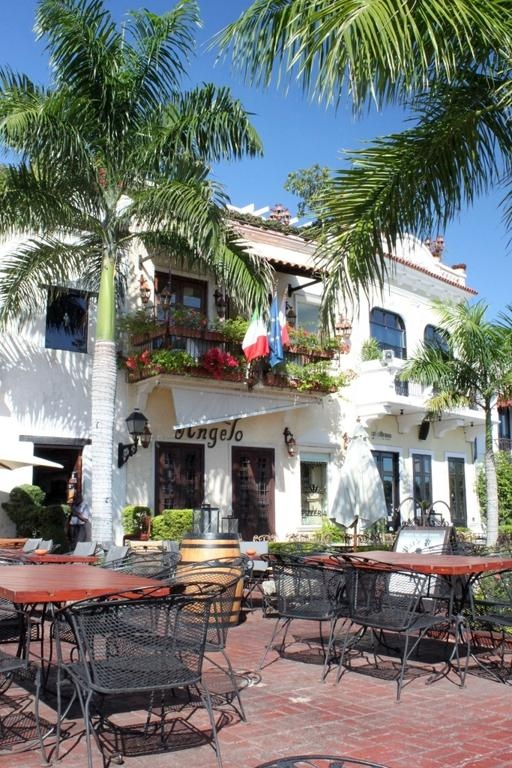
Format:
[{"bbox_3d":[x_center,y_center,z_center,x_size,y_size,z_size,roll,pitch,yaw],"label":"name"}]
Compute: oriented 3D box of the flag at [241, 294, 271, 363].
[{"bbox_3d":[-0.022,-1.043,15.269,0.610,0.952,0.542,-2,-10,10],"label":"flag"}]
